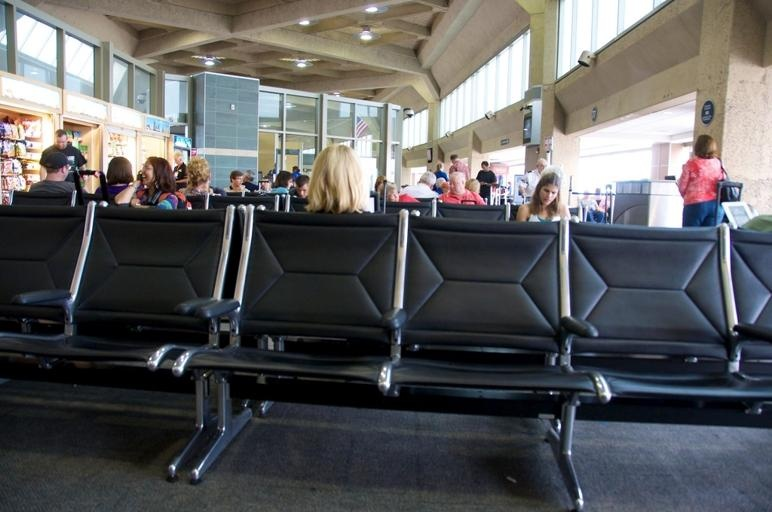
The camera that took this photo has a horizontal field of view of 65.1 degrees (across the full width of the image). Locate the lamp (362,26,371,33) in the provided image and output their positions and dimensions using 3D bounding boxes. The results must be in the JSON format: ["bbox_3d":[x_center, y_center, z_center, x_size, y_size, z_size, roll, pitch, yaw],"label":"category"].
[{"bbox_3d":[-0.538,-6.105,16.225,0.173,0.178,0.335,0,8,-5],"label":"lamp"}]

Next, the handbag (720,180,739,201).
[{"bbox_3d":[3.384,-0.653,5.962,0.191,0.191,0.186,-3,9,1],"label":"handbag"}]

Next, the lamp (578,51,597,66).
[{"bbox_3d":[3.907,-3.832,11.766,0.362,0.254,0.254,19,-31,9],"label":"lamp"}]

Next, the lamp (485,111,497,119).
[{"bbox_3d":[3.269,-4.444,18.958,0.228,0.105,0.308,7,7,0],"label":"lamp"}]
